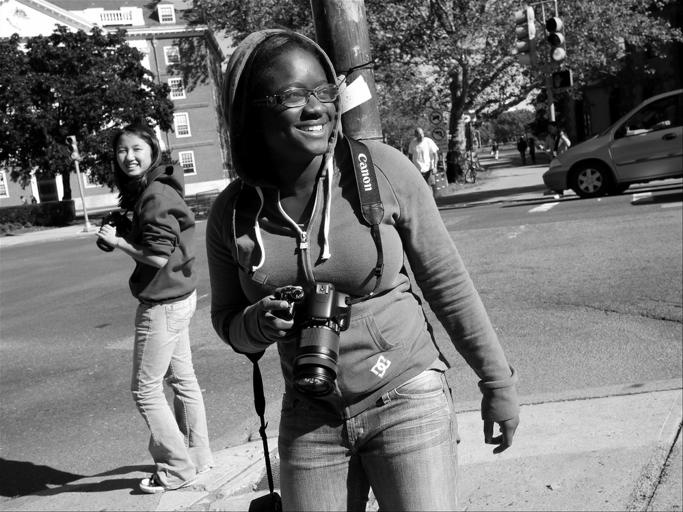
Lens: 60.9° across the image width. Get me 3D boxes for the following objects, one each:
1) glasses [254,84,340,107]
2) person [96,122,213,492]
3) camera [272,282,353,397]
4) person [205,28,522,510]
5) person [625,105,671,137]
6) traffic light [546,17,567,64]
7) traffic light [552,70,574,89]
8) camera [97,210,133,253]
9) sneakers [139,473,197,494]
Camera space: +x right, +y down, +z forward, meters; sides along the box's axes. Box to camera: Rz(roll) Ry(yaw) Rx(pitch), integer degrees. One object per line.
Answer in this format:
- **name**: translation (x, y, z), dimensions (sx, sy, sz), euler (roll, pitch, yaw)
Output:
- **glasses**: translation (-0.160, -0.567, 2.081), dimensions (0.153, 0.050, 0.152), euler (-3, 11, 41)
- **person**: translation (-1.220, 0.343, 3.911), dimensions (0.633, 2.444, 0.639), euler (-10, 10, -23)
- **camera**: translation (-0.087, 0.278, 1.930), dimensions (0.250, 0.367, 0.206), euler (-6, 10, 7)
- **person**: translation (-0.010, 0.024, 2.023), dimensions (1.107, 1.705, 0.511), euler (-3, 10, 24)
- **person**: translation (7.511, -3.313, 14.222), dimensions (0.975, 0.574, 0.560), euler (-2, 11, 30)
- **traffic light**: translation (6.351, -6.428, 17.235), dimensions (0.501, 1.414, 1.098), euler (-3, 10, 21)
- **traffic light**: translation (6.627, -5.310, 17.392), dimensions (0.329, 0.546, 0.632), euler (-12, 11, -30)
- **camera**: translation (-1.554, -0.226, 4.094), dimensions (0.202, 0.111, 0.292), euler (34, -7, 37)
- **sneakers**: translation (-1.163, 1.524, 3.925), dimensions (0.324, 0.146, 0.148), euler (3, -5, -2)
